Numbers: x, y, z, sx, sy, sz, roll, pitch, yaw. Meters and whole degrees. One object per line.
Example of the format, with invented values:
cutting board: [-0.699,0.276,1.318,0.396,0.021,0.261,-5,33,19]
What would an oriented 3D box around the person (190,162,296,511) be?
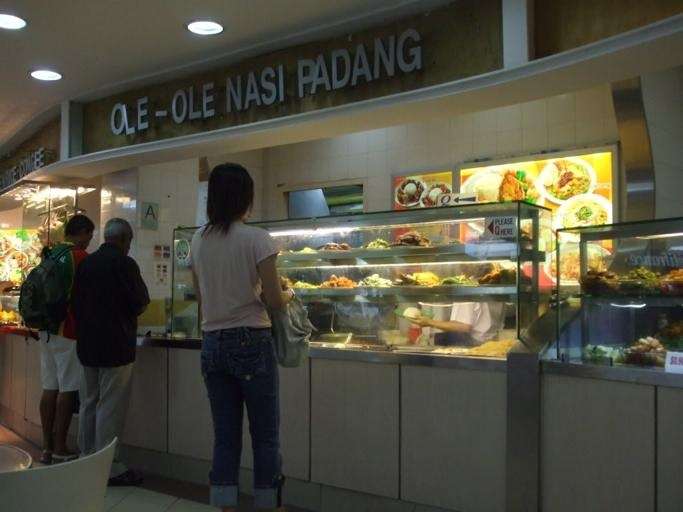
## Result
person: [-0.557,0.438,3.050,0.495,1.849,0.215,0,0,-5]

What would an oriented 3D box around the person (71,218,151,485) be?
person: [-1.663,0.675,4.138,0.513,1.826,0.278,0,0,-20]
